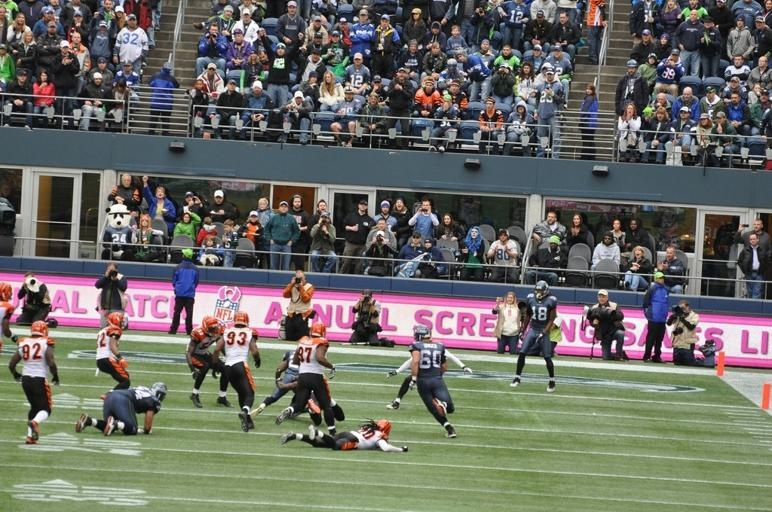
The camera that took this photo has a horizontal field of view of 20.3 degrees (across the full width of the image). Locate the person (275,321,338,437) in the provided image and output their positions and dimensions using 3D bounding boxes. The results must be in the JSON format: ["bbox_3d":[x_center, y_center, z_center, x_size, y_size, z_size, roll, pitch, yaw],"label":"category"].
[{"bbox_3d":[-1.919,3.123,55.559,1.400,2.779,0.976,1,2,-4],"label":"person"}]

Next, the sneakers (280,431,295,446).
[{"bbox_3d":[-2.428,4.588,54.698,0.417,0.231,0.159,-33,10,-8],"label":"sneakers"}]

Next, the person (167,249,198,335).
[{"bbox_3d":[-6.004,1.114,64.318,0.825,2.564,1.181,1,2,-6],"label":"person"}]

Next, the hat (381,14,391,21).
[{"bbox_3d":[0.043,-7.447,68.520,0.218,0.169,0.347,11,10,4],"label":"hat"}]

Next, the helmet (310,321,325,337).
[{"bbox_3d":[-1.705,1.912,55.675,0.326,0.411,0.426,5,13,5],"label":"helmet"}]

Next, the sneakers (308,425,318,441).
[{"bbox_3d":[-1.813,4.460,54.759,0.137,0.410,0.184,1,0,31],"label":"sneakers"}]

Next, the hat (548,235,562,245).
[{"bbox_3d":[5.230,-0.435,65.418,0.231,0.246,0.319,6,15,21],"label":"hat"}]

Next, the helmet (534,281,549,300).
[{"bbox_3d":[4.355,0.949,59.949,0.385,0.496,0.507,1,14,18],"label":"helmet"}]

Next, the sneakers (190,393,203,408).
[{"bbox_3d":[-5.094,3.847,57.715,0.519,0.267,0.169,17,-8,42],"label":"sneakers"}]

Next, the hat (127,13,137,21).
[{"bbox_3d":[-8.174,-7.508,69.242,0.222,0.175,0.332,2,2,-11],"label":"hat"}]

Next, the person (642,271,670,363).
[{"bbox_3d":[8.170,1.861,64.217,0.757,2.701,0.872,2,2,7],"label":"person"}]

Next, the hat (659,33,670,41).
[{"bbox_3d":[9.100,-6.872,69.138,0.331,0.194,0.454,1,3,9],"label":"hat"}]

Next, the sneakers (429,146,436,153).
[{"bbox_3d":[1.551,-3.256,67.233,0.215,0.187,0.081,3,2,23],"label":"sneakers"}]

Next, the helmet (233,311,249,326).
[{"bbox_3d":[-3.781,1.634,56.259,0.306,0.368,0.384,2,14,-1],"label":"helmet"}]

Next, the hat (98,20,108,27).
[{"bbox_3d":[-9.065,-7.267,68.904,0.298,0.136,0.460,0,-2,-11],"label":"hat"}]

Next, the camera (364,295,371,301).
[{"bbox_3d":[-0.492,1.269,63.955,0.230,0.185,0.121,1,2,-5],"label":"camera"}]

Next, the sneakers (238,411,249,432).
[{"bbox_3d":[-3.662,4.286,56.087,0.266,0.571,0.218,-8,-11,-43],"label":"sneakers"}]

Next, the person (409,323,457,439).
[{"bbox_3d":[1.268,3.295,56.287,0.856,2.898,1.373,4,3,44],"label":"person"}]

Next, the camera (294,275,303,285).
[{"bbox_3d":[-2.489,0.721,62.191,0.222,0.153,0.158,-2,-5,36],"label":"camera"}]

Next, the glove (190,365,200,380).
[{"bbox_3d":[-5.156,3.085,57.515,0.168,0.390,0.291,-33,-21,21],"label":"glove"}]

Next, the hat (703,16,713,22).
[{"bbox_3d":[10.483,-7.404,68.986,0.231,0.188,0.227,-15,-42,45],"label":"hat"}]

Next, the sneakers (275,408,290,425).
[{"bbox_3d":[-2.666,4.191,56.445,0.222,0.183,0.494,-21,-26,-52],"label":"sneakers"}]

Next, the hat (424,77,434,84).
[{"bbox_3d":[1.434,-5.362,67.173,0.304,0.200,0.323,3,3,25],"label":"hat"}]

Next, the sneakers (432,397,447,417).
[{"bbox_3d":[1.473,3.920,56.160,0.241,0.531,0.229,-23,-10,-40],"label":"sneakers"}]

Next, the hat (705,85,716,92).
[{"bbox_3d":[10.203,-5.041,66.637,0.209,0.164,0.331,-3,0,34],"label":"hat"}]

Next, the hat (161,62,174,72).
[{"bbox_3d":[-6.950,-5.863,68.441,0.344,0.346,0.285,2,11,11],"label":"hat"}]

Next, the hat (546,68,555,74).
[{"bbox_3d":[5.255,-5.603,67.054,0.293,0.187,0.130,0,3,-28],"label":"hat"}]

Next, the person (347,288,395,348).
[{"bbox_3d":[-0.462,1.892,64.666,1.072,1.700,1.451,3,2,25],"label":"person"}]

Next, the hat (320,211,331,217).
[{"bbox_3d":[-1.807,-1.185,66.212,0.160,0.217,0.167,15,8,26],"label":"hat"}]

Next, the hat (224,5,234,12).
[{"bbox_3d":[-5.048,-7.835,69.585,0.229,0.195,0.274,-10,11,-9],"label":"hat"}]

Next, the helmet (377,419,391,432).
[{"bbox_3d":[0.011,4.348,55.653,0.258,0.308,0.330,11,19,24],"label":"helmet"}]

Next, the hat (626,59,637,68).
[{"bbox_3d":[7.791,-5.809,67.080,0.277,0.226,0.414,1,24,10],"label":"hat"}]

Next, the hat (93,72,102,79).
[{"bbox_3d":[-8.997,-5.490,67.283,0.296,0.236,0.279,1,2,-12],"label":"hat"}]

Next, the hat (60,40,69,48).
[{"bbox_3d":[-10.054,-6.471,67.274,0.256,0.222,0.383,1,2,-11],"label":"hat"}]

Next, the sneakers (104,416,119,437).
[{"bbox_3d":[-7.062,4.334,55.282,0.219,0.600,0.273,37,49,14],"label":"sneakers"}]

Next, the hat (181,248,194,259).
[{"bbox_3d":[-5.884,-0.005,63.951,0.187,0.266,0.362,-19,3,10],"label":"hat"}]

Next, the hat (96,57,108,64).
[{"bbox_3d":[-9.001,-6.053,68.093,0.298,0.149,0.450,1,6,-8],"label":"hat"}]

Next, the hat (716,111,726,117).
[{"bbox_3d":[10.467,-4.245,66.375,0.298,0.191,0.229,2,2,5],"label":"hat"}]

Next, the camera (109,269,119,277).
[{"bbox_3d":[-7.832,0.537,61.966,0.228,0.142,0.161,-5,1,-12],"label":"camera"}]

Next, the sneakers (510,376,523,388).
[{"bbox_3d":[3.748,3.519,60.542,0.167,0.290,0.431,4,3,23],"label":"sneakers"}]

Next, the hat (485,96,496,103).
[{"bbox_3d":[3.336,-4.687,66.952,0.289,0.269,0.622,2,2,2],"label":"hat"}]

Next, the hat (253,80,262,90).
[{"bbox_3d":[-3.950,-5.197,67.058,0.222,0.248,0.302,2,-5,-5],"label":"hat"}]

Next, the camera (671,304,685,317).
[{"bbox_3d":[8.799,1.649,63.927,0.259,0.286,0.317,-2,-17,19],"label":"camera"}]

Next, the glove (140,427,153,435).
[{"bbox_3d":[-6.201,4.502,55.827,0.330,0.129,0.150,9,-33,-5],"label":"glove"}]

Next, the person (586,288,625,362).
[{"bbox_3d":[6.691,2.086,64.222,0.931,2.102,1.575,3,2,24],"label":"person"}]

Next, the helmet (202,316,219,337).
[{"bbox_3d":[-4.614,1.866,56.951,0.399,0.495,0.496,-22,-11,-13],"label":"helmet"}]

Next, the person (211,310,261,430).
[{"bbox_3d":[-3.883,3.013,56.391,1.146,3.067,1.047,1,2,-3],"label":"person"}]

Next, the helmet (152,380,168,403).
[{"bbox_3d":[-5.853,3.521,55.997,0.433,0.540,0.537,-2,0,-2],"label":"helmet"}]

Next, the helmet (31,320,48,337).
[{"bbox_3d":[-8.901,1.867,54.893,0.344,0.431,0.427,4,10,7],"label":"helmet"}]

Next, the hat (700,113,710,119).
[{"bbox_3d":[9.955,-4.194,66.100,0.303,0.173,0.433,2,2,8],"label":"hat"}]

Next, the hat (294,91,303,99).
[{"bbox_3d":[-2.668,-4.899,67.021,0.253,0.186,0.377,3,-6,-3],"label":"hat"}]

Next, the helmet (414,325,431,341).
[{"bbox_3d":[0.991,2.019,56.260,0.334,0.377,0.414,-3,15,-40],"label":"helmet"}]

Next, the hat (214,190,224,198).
[{"bbox_3d":[-5.153,-1.849,66.815,0.270,0.162,0.425,3,1,-4],"label":"hat"}]

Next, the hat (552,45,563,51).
[{"bbox_3d":[5.579,-6.491,68.328,0.278,0.205,0.453,4,0,11],"label":"hat"}]

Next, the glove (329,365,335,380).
[{"bbox_3d":[-1.380,3.092,56.733,0.218,0.285,0.675,3,0,0],"label":"glove"}]

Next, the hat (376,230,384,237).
[{"bbox_3d":[-0.106,-0.627,65.731,0.177,0.185,0.198,2,-13,-3],"label":"hat"}]

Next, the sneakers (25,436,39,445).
[{"bbox_3d":[-9.068,4.682,55.001,0.291,0.198,0.150,-2,10,-13],"label":"sneakers"}]

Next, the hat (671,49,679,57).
[{"bbox_3d":[9.280,-6.277,67.922,0.215,0.193,0.354,15,10,5],"label":"hat"}]

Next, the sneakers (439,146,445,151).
[{"bbox_3d":[1.850,-3.242,67.184,0.208,0.164,0.116,1,2,-22],"label":"sneakers"}]
